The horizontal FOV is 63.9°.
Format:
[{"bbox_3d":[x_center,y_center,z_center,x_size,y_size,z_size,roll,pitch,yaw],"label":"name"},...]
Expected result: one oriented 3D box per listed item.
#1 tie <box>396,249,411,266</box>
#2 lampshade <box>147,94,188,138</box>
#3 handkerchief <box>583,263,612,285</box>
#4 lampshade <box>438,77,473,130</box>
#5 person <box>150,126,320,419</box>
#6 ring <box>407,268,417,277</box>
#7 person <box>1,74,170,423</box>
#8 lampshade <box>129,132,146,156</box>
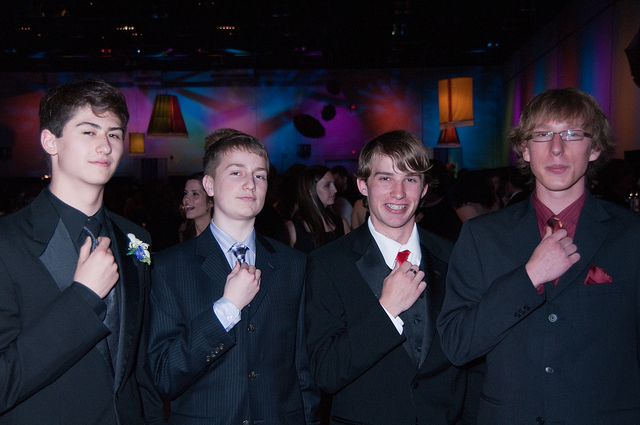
[{"bbox_3d":[0.451,0.250,2.804,0.050,0.087,0.022,31,3,11],"label":"tie"},{"bbox_3d":[-2.916,-1.834,9.882,0.854,0.812,0.819,-1,1,-6],"label":"lampshade"},{"bbox_3d":[1.340,0.304,2.477,0.127,0.096,0.039,4,9,-2],"label":"handkerchief"},{"bbox_3d":[2.079,-1.662,7.833,0.609,0.742,0.394,8,9,27],"label":"lampshade"},{"bbox_3d":[-0.455,0.349,2.822,0.898,1.537,0.607,2,9,-15],"label":"person"},{"bbox_3d":[0.478,0.313,2.671,0.040,0.033,0.039,6,-11,1],"label":"ring"},{"bbox_3d":[-1.150,0.231,2.519,0.759,1.786,0.622,2,9,-17],"label":"person"},{"bbox_3d":[-4.652,-1.749,13.032,0.375,0.520,0.338,4,8,-1],"label":"lampshade"}]
